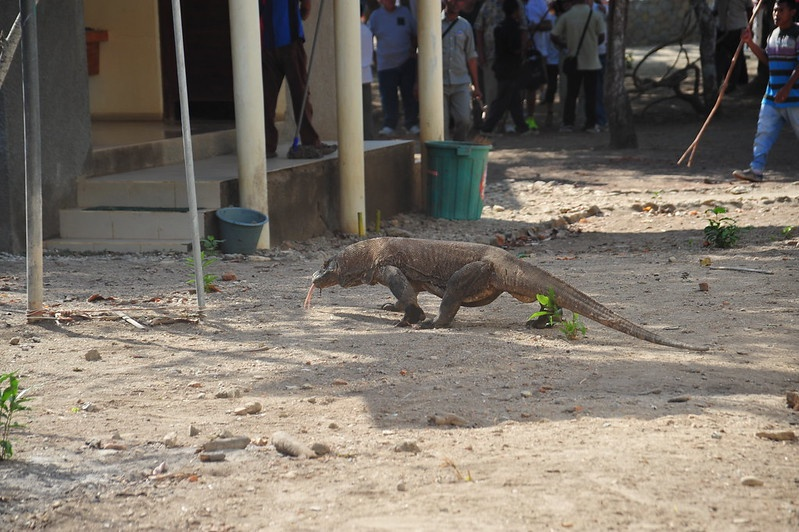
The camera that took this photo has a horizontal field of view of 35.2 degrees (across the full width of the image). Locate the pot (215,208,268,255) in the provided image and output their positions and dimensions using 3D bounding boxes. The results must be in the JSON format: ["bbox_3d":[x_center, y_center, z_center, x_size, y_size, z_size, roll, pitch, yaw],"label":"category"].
[{"bbox_3d":[-2.101,-0.342,16.597,0.669,0.445,0.619,0,0,0],"label":"pot"}]

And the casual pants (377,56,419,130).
[{"bbox_3d":[-0.021,-3.583,25.955,0.847,1.659,0.561,-2,5,-6],"label":"casual pants"}]

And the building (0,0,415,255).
[{"bbox_3d":[-2.967,-2.373,18.038,3.154,3.425,6.161,2,7,42],"label":"building"}]

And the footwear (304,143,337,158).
[{"bbox_3d":[-1.109,-1.669,18.519,0.582,0.219,0.186,-9,24,-21],"label":"footwear"}]

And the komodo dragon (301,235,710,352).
[{"bbox_3d":[1.274,0.117,13.621,5.979,1.109,1.418,3,1,27],"label":"komodo dragon"}]

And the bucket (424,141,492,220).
[{"bbox_3d":[0.919,-1.366,19.969,1.246,1.152,1.186,1,12,0],"label":"bucket"}]
